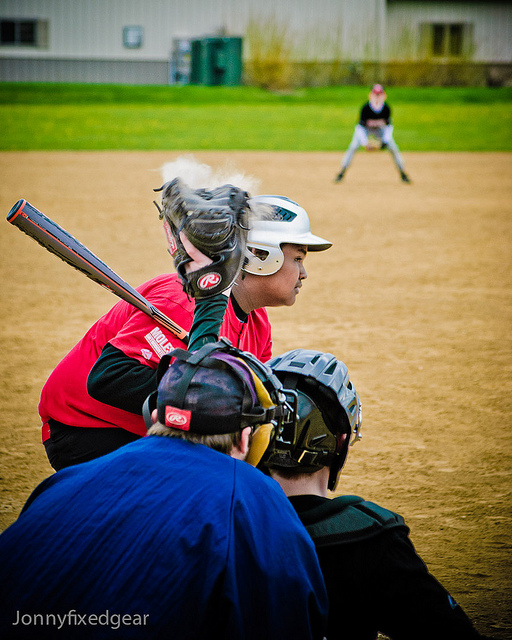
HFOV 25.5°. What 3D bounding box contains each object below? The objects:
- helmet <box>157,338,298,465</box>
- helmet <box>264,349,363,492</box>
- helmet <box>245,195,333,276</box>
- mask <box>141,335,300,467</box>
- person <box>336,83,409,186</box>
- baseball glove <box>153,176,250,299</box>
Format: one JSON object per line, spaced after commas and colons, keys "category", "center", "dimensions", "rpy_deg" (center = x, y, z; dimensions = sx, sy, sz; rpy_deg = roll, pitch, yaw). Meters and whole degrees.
{"category": "helmet", "center": [-0.112, 0.222, 2.838], "dimensions": [0.315, 0.307, 0.378], "rpy_deg": [6, 2, 30]}
{"category": "helmet", "center": [0.208, 0.264, 3.204], "dimensions": [0.308, 0.305, 0.350], "rpy_deg": [13, -2, 8]}
{"category": "helmet", "center": [0.108, -0.317, 3.919], "dimensions": [0.384, 0.218, 0.241], "rpy_deg": [2, 20, 23]}
{"category": "mask", "center": [-0.106, 0.224, 2.836], "dimensions": [0.392, 0.301, 0.316], "rpy_deg": [0, 6, -37]}
{"category": "person", "center": [1.513, -2.453, 14.503], "dimensions": [0.910, 1.212, 2.789], "rpy_deg": [3, 12, 5]}
{"category": "baseball glove", "center": [-0.132, -0.217, 3.059], "dimensions": [0.257, 0.307, 0.163], "rpy_deg": [8, -15, 18]}
